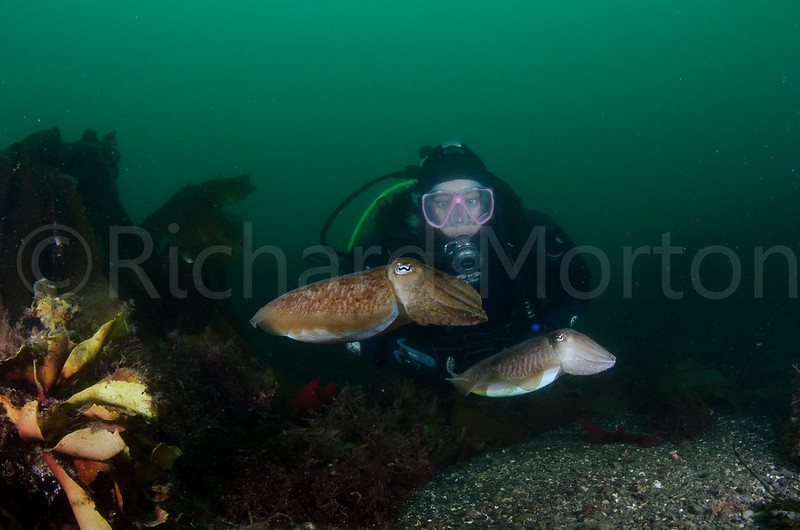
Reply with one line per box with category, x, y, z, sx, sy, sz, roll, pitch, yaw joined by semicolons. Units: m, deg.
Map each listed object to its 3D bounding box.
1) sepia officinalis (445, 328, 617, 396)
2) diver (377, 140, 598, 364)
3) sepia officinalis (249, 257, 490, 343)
sepia officinalis;2.675;2.070;15.482;2.287;0.859;1.588;-2;-5;6
diver;2.339;-0.268;19.548;4.904;5.218;9.213;1;-2;8
sepia officinalis;-0.589;0.794;14.848;4.575;1.703;1.665;-4;-2;1
